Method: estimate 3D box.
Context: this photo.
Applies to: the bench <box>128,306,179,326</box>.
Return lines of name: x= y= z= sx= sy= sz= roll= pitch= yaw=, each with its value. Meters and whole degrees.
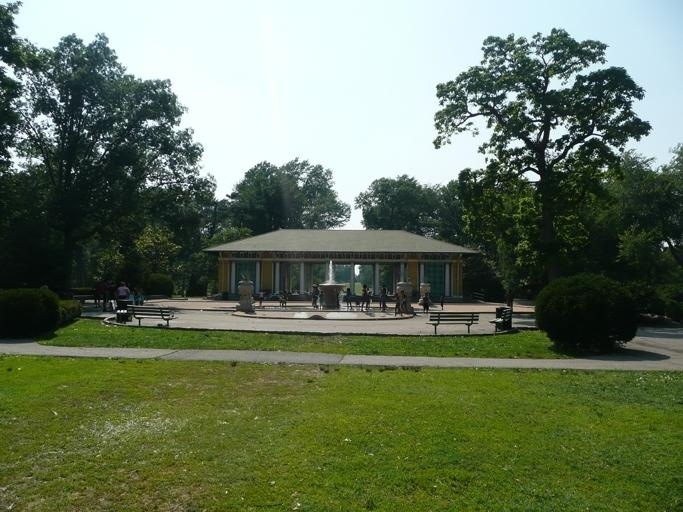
bench: x=-8.074 y=2.496 z=26.778 sx=1.562 sy=0.865 sz=3.546 roll=0 pitch=2 yaw=-21

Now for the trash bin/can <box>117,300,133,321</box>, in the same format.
trash bin/can: x=-9.829 y=2.481 z=28.838 sx=0.525 sy=0.974 sz=0.496 roll=3 pitch=-21 yaw=-41
